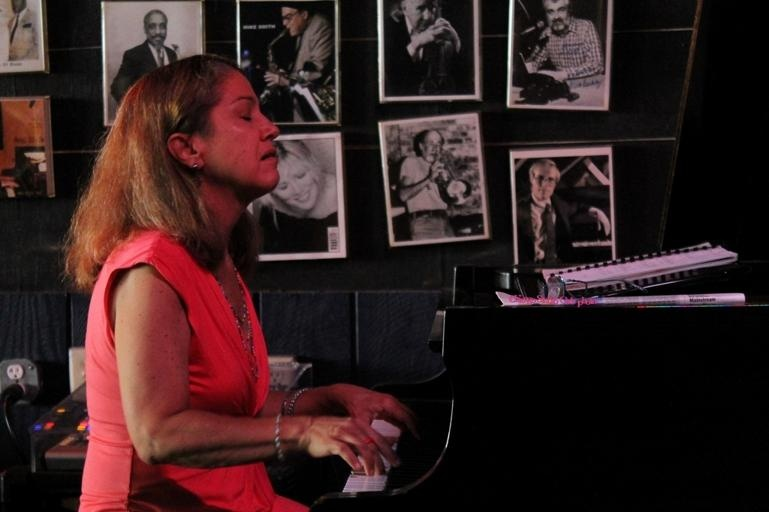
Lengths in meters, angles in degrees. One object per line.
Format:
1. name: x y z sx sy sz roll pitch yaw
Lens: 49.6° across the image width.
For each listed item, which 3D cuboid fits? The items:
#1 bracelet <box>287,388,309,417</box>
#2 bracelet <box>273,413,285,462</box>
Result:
1. bracelet: -0.266 0.444 2.513 0.026 0.069 0.061 20 1 3
2. bracelet: -0.274 0.480 2.161 0.028 0.116 0.039 0 11 -5
